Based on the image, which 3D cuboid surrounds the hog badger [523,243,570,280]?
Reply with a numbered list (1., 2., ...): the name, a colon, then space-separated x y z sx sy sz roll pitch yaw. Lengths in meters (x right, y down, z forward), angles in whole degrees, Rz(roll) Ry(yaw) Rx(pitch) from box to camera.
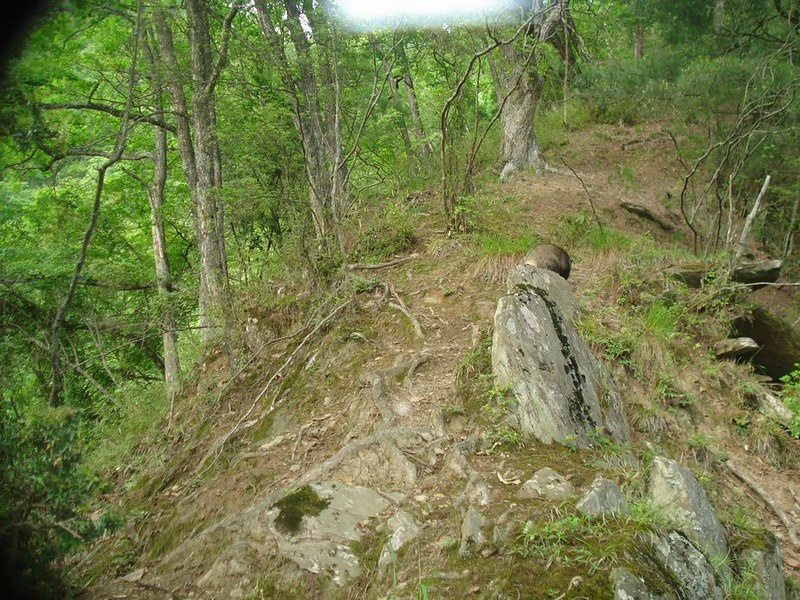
1. hog badger: 2.497 -0.610 11.339 0.807 0.581 0.560 -1 12 -2
